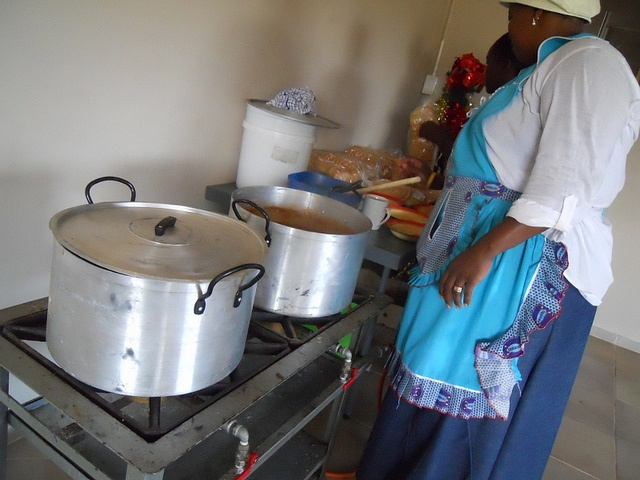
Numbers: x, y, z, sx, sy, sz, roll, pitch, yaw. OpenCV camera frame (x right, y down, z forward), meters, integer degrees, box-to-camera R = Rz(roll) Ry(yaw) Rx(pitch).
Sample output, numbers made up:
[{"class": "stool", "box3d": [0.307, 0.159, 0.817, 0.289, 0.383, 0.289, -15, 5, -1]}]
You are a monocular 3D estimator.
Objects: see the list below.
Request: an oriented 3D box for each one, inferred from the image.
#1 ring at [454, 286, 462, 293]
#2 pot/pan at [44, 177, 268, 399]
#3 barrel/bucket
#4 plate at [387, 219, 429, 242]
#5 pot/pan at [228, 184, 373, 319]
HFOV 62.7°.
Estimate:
[{"class": "ring", "box3d": [0.378, 0.136, 1.440, 0.017, 0.012, 0.017, 1, 16, 0]}, {"class": "pot/pan", "box3d": [-0.401, 0.107, 1.316, 0.558, 0.340, 0.471, 27, 25, 30]}, {"class": "barrel/bucket", "box3d": [-0.188, -0.402, 2.238, 0.336, 0.349, 0.328, 11, 26, -6]}, {"class": "plate", "box3d": [0.365, -0.049, 2.239, 0.106, 0.028, 0.107, 20, 18, 33]}, {"class": "pot/pan", "box3d": [-0.007, 0.011, 1.672, 0.468, 0.315, 0.413, -7, 13, -10]}]
